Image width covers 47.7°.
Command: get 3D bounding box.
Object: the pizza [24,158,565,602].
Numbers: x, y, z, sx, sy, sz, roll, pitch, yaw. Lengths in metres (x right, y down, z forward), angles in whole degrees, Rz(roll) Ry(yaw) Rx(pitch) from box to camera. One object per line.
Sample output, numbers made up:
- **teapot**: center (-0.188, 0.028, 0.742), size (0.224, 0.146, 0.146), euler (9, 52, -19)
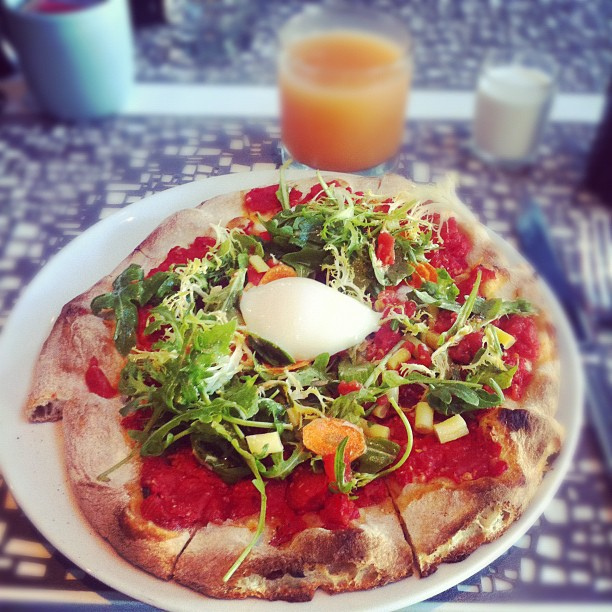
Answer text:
- **pizza**: center (0.001, 0.153, 2.238), size (1.775, 0.423, 1.579), euler (13, 54, 9)
